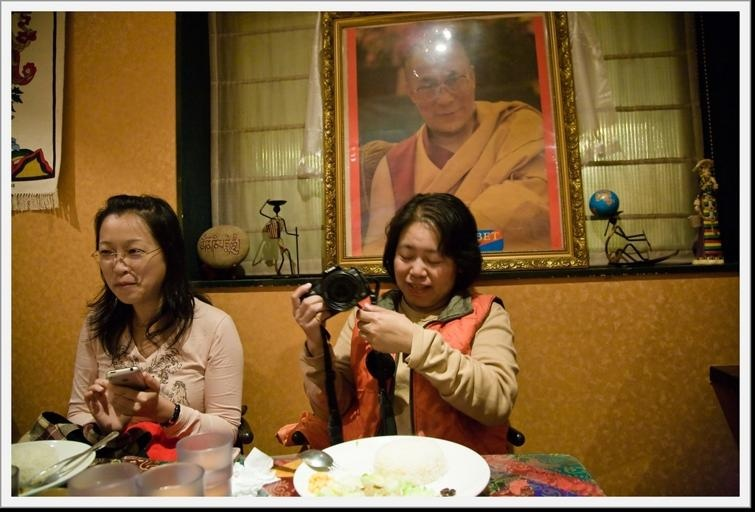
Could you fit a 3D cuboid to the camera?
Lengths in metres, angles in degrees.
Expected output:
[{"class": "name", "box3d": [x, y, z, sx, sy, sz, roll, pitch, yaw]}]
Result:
[{"class": "camera", "box3d": [-0.158, 0.153, 2.673, 0.312, 0.224, 0.115, -1, 9, 10]}]

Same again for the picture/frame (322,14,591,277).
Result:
[{"class": "picture/frame", "box3d": [0.534, -0.666, 3.595, 1.561, 1.645, 0.090, -2, -2, 6]}]

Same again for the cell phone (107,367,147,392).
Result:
[{"class": "cell phone", "box3d": [-1.073, 0.525, 2.499, 0.122, 0.029, 0.094, -5, -38, -2]}]

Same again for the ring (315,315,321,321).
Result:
[{"class": "ring", "box3d": [-0.278, 0.286, 2.707, 0.025, 0.026, 0.006, -8, 4, -16]}]

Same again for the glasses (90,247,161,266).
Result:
[{"class": "glasses", "box3d": [-1.210, 0.003, 2.856, 0.294, 0.075, 0.053, -2, 3, -7]}]
